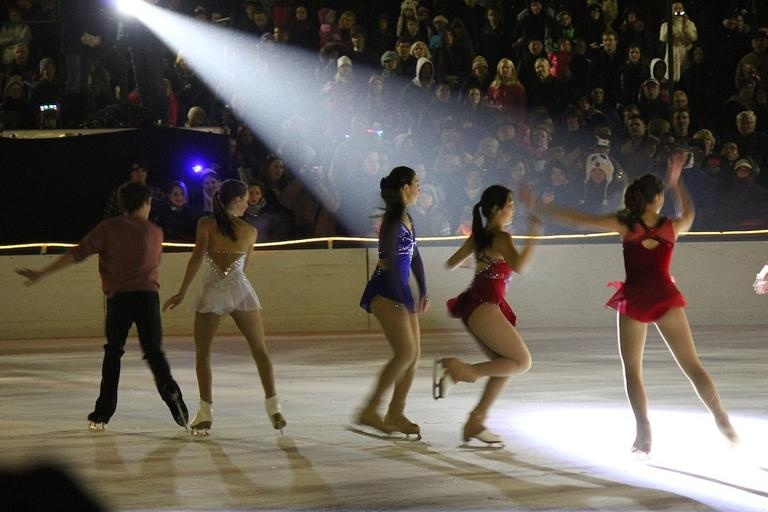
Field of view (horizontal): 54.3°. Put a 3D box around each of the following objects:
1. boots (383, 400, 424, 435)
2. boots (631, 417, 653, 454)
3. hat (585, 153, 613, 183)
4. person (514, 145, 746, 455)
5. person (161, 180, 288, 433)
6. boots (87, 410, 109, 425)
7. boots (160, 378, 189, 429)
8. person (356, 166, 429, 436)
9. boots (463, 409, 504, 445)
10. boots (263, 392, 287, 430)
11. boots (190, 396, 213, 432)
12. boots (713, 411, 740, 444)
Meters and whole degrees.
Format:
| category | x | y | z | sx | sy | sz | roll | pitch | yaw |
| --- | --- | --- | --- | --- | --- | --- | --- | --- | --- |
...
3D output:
| category | x | y | z | sx | sy | sz | roll | pitch | yaw |
| --- | --- | --- | --- | --- | --- | --- | --- | --- | --- |
| boots | 0.165 | 1.410 | 6.400 | 0.363 | 0.289 | 0.136 | 0 | -15 | 31 |
| boots | 2.032 | 1.417 | 5.861 | 0.141 | 0.276 | 0.189 | 7 | 12 | 19 |
| hat | 3.741 | -1.497 | 12.953 | 0.416 | 0.524 | 0.497 | 5 | 22 | 20 |
| person | 2.050 | 0.420 | 5.991 | 1.627 | 2.303 | 0.848 | 4 | 12 | 9 |
| person | -1.414 | 0.499 | 6.709 | 0.924 | 2.295 | 0.930 | -1 | 12 | -16 |
| boots | -2.577 | 1.478 | 6.798 | 0.178 | 0.127 | 0.152 | -1 | -15 | 13 |
| boots | -1.873 | 1.363 | 6.741 | 0.294 | 0.493 | 0.217 | 5 | 12 | 10 |
| person | 0.101 | 0.428 | 6.481 | 0.601 | 2.327 | 0.801 | 2 | 12 | -2 |
| boots | 0.850 | 1.440 | 6.183 | 0.374 | 0.252 | 0.140 | -2 | -17 | 36 |
| boots | -0.950 | 1.394 | 6.535 | 0.101 | 0.304 | 0.227 | -5 | 14 | -32 |
| boots | -1.626 | 1.446 | 6.662 | 0.187 | 0.321 | 0.219 | -1 | 12 | -16 |
| boots | 2.680 | 1.351 | 5.852 | 0.143 | 0.265 | 0.073 | -32 | -10 | 15 |
